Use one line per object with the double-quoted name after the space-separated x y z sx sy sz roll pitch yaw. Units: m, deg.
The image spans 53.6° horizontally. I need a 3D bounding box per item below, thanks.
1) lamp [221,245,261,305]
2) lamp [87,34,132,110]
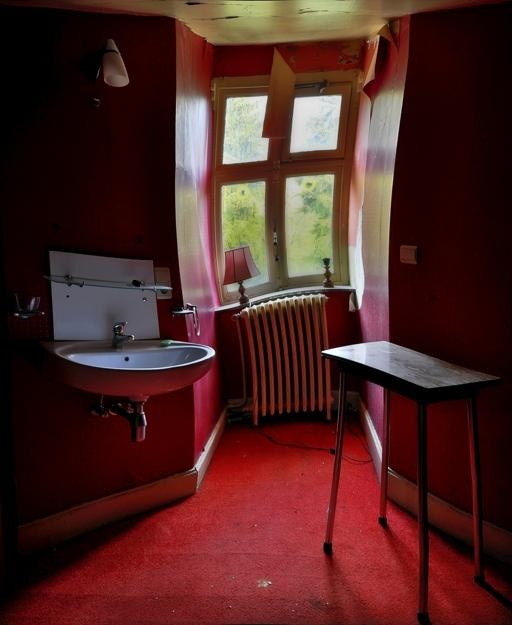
-0.098 -0.225 3.276 0.188 0.373 0.206 -11 8 -26 "lamp"
-0.526 -0.915 1.812 0.092 0.191 0.086 -8 -10 -7 "lamp"
